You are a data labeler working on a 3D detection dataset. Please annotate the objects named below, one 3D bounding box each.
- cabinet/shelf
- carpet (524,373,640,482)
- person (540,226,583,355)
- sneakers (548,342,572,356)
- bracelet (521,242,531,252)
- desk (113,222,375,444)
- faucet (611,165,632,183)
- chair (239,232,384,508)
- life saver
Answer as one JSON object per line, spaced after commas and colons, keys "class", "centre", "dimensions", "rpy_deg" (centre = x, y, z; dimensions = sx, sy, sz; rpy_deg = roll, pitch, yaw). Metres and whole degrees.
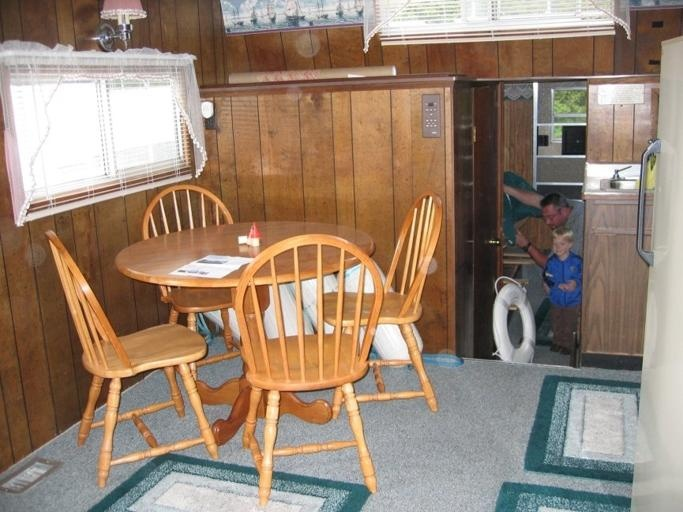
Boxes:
{"class": "cabinet/shelf", "centre": [1.544, 0.092, 3.079], "dimensions": [0.339, 0.835, 0.869], "rpy_deg": [0, 7, 15]}
{"class": "carpet", "centre": [1.177, 0.830, 2.695], "dimensions": [0.374, 0.046, 0.438], "rpy_deg": [2, 35, 24]}
{"class": "person", "centre": [1.611, 0.236, 4.062], "dimensions": [0.254, 0.854, 0.384], "rpy_deg": [4, 19, 20]}
{"class": "sneakers", "centre": [1.590, 0.674, 4.078], "dimensions": [0.196, 0.086, 0.099], "rpy_deg": [4, 14, 39]}
{"class": "bracelet", "centre": [1.660, -0.082, 4.976], "dimensions": [0.040, 0.080, 0.056], "rpy_deg": [3, -13, -15]}
{"class": "desk", "centre": [-0.486, 0.523, 2.917], "dimensions": [1.119, 0.860, 1.173], "rpy_deg": [-3, 15, -9]}
{"class": "faucet", "centre": [1.770, -0.507, 3.450], "dimensions": [0.229, 0.094, 0.067], "rpy_deg": [-4, 5, -35]}
{"class": "chair", "centre": [-0.153, 0.390, 2.455], "dimensions": [0.662, 1.118, 0.707], "rpy_deg": [-4, 18, -4]}
{"class": "life saver", "centre": [1.142, 0.457, 3.673], "dimensions": [0.127, 0.574, 0.571], "rpy_deg": [-10, -15, 41]}
